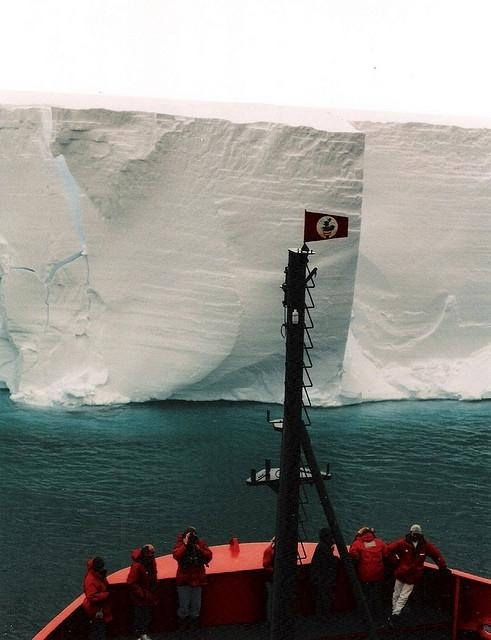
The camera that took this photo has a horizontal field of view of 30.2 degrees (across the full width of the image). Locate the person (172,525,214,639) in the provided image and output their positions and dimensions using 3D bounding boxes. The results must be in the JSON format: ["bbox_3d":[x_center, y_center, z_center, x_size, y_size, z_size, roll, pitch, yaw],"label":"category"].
[{"bbox_3d":[-0.589,2.793,9.789,0.403,1.153,0.396,0,15,-1],"label":"person"}]

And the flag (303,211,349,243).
[{"bbox_3d":[0.807,-0.946,9.231,0.431,0.304,0.347,1,13,2],"label":"flag"}]

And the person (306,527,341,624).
[{"bbox_3d":[0.832,2.693,9.708,0.281,1.020,0.204,2,16,3],"label":"person"}]

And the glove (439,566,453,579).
[{"bbox_3d":[2.216,2.789,10.000,0.188,0.060,0.122,-13,60,-41],"label":"glove"}]
